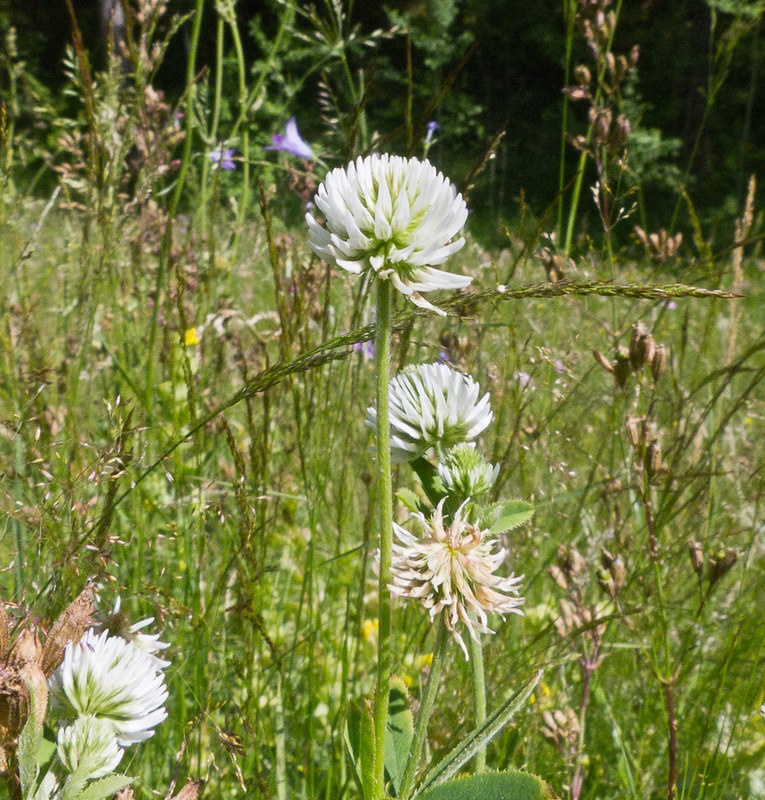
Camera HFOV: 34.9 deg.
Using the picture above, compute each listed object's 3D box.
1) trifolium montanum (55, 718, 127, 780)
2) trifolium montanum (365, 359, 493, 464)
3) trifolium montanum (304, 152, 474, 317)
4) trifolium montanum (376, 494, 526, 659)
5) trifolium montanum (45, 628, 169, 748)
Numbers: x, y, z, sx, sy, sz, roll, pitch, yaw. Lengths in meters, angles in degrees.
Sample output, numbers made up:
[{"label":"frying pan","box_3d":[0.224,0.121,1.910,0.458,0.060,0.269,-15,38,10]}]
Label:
[{"label":"trifolium montanum","box_3d":[-0.504,0.592,2.102,0.094,0.104,0.098,14,38,-44]},{"label":"trifolium montanum","box_3d":[0.094,0.007,2.353,0.163,0.182,0.185,-8,-7,-14]},{"label":"trifolium montanum","box_3d":[0.014,-0.312,2.233,0.235,0.366,0.245,7,-1,-39]},{"label":"trifolium montanum","box_3d":[0.113,0.322,2.148,0.227,0.284,0.136,32,-24,-12]},{"label":"trifolium montanum","box_3d":[-0.512,0.519,2.206,0.176,0.204,0.168,38,-30,-29]}]
